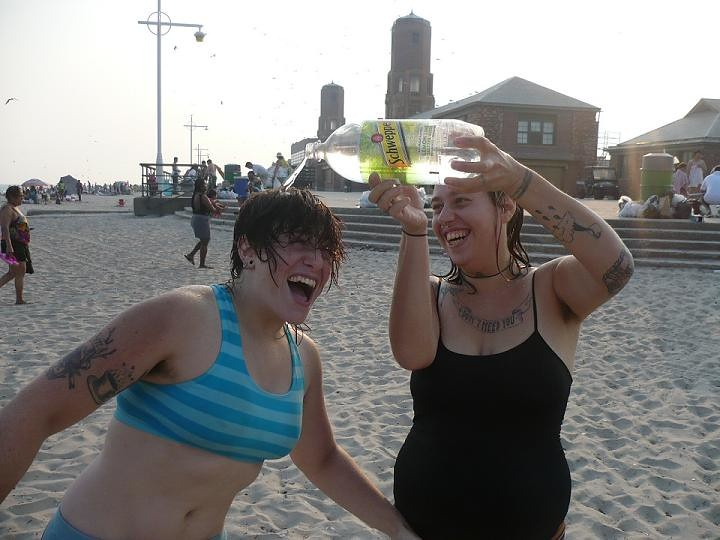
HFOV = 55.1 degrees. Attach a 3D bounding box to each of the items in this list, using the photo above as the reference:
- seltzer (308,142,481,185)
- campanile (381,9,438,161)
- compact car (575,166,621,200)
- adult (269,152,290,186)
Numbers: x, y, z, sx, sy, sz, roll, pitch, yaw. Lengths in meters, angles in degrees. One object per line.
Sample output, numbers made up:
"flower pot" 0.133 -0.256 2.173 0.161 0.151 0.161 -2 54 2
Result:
"seltzer" 0.098 -0.572 3.380 0.877 0.316 0.296 5 25 19
"campanile" 4.245 -16.451 59.965 5.462 11.524 5.528 5 3 43
"compact car" 10.965 -4.001 31.760 1.126 1.454 2.210 -1 4 -12
"adult" -2.521 -3.124 22.092 0.382 1.654 0.547 8 45 5
